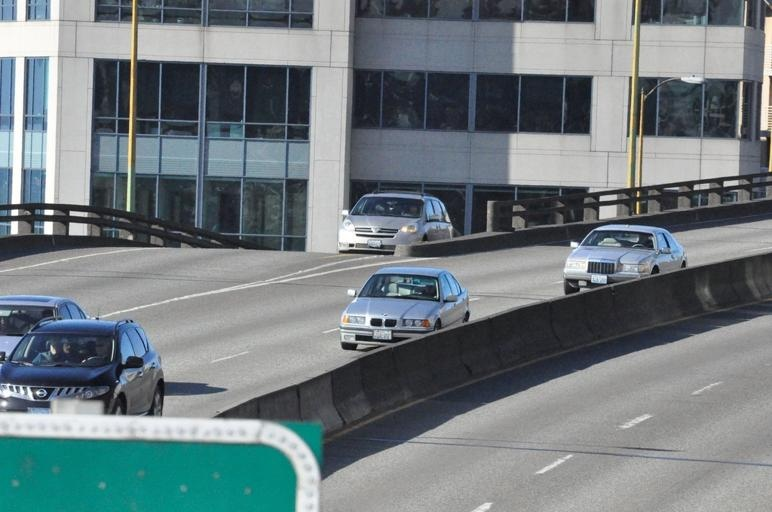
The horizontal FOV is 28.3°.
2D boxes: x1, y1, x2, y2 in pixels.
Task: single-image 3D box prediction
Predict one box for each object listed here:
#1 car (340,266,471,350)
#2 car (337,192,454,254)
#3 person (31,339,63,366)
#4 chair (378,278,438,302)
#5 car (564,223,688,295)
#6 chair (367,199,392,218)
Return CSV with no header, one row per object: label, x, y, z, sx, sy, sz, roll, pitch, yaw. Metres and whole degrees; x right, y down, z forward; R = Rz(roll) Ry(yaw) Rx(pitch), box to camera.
car,0.729,1.436,50.994,3.294,2.202,6.602,3,8,16
car,0.513,-1.329,61.816,2.369,1.562,3.648,-1,-4,20
person,-9.455,2.672,43.093,0.500,0.697,0.215,3,-19,-4
chair,0.907,1.005,49.578,0.861,0.542,1.299,2,-3,14
car,8.382,-0.007,54.185,4.332,2.199,2.273,-4,1,-22
chair,-0.294,-1.986,61.380,1.103,0.940,0.590,1,-4,-2
